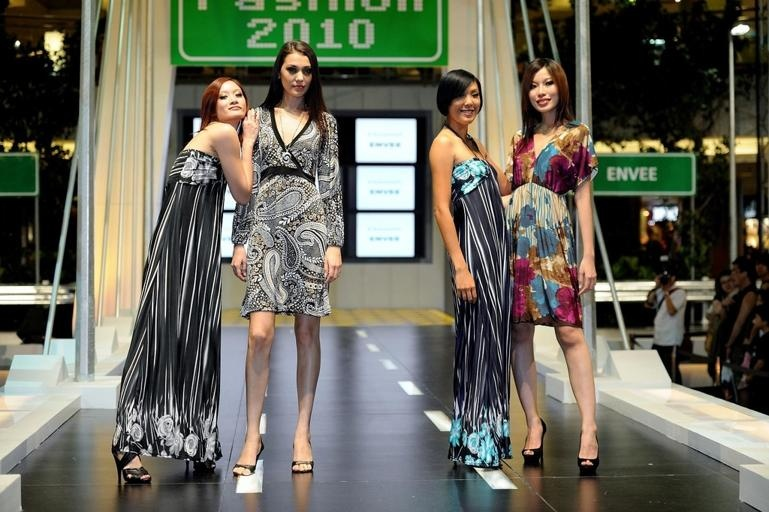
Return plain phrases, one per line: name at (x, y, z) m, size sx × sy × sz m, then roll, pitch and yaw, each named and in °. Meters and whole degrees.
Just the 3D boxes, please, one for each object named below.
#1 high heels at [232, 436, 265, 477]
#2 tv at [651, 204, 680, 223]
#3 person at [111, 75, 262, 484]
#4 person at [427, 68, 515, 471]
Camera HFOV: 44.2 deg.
high heels at (-0.726, 1.075, 5.093) m, size 0.086 × 0.107 × 0.262 m, roll 1°, pitch 27°, yaw 17°
tv at (2.080, -0.323, 7.101) m, size 0.037 × 0.152 × 0.309 m, roll -3°, pitch 10°, yaw -19°
person at (-1.046, 0.196, 4.985) m, size 0.803 × 1.903 × 0.319 m, roll -2°, pitch 8°, yaw -10°
person at (0.470, 0.060, 5.107) m, size 0.385 × 2.094 × 0.442 m, roll -3°, pitch 8°, yaw -18°
